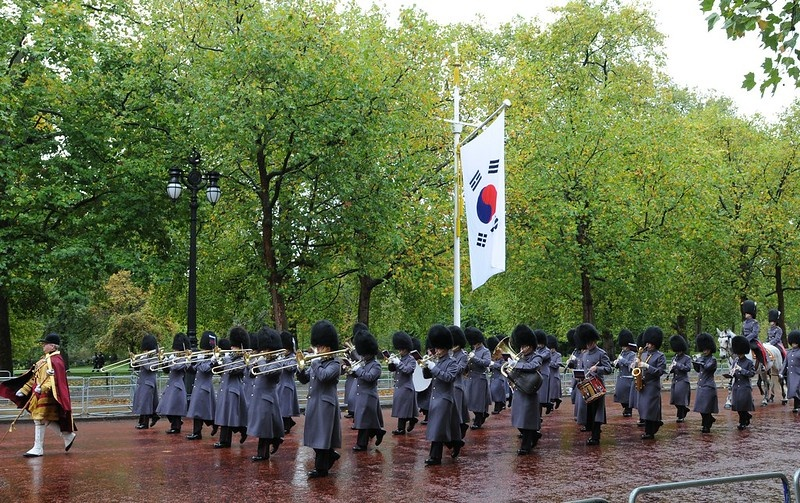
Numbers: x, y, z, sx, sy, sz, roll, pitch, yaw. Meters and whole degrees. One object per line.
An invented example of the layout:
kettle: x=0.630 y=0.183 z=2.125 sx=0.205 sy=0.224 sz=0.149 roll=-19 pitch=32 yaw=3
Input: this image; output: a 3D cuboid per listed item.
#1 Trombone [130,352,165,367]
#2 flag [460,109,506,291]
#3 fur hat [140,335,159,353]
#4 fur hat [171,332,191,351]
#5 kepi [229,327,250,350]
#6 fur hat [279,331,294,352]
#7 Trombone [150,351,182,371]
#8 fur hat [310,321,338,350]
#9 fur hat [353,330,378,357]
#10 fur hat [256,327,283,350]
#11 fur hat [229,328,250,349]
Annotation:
Trombone: x=-8.172 y=3.527 z=35.631 sx=0.787 sy=0.288 sz=0.732 roll=-1 pitch=27 yaw=-1
flag: x=2.690 y=-1.620 z=35.080 sx=0.431 sy=5.526 sz=1.693 roll=7 pitch=-12 yaw=-37
fur hat: x=-8.280 y=3.020 z=36.217 sx=0.546 sy=0.554 sz=0.591 roll=2 pitch=-7 yaw=-25
fur hat: x=-7.096 y=2.980 z=36.155 sx=0.563 sy=0.606 sz=0.659 roll=5 pitch=-3 yaw=-29
kepi: x=-5.091 y=2.713 z=34.657 sx=0.582 sy=0.700 sz=0.371 roll=0 pitch=7 yaw=-16
fur hat: x=-3.743 y=2.966 z=36.589 sx=0.498 sy=0.592 sz=0.621 roll=0 pitch=-26 yaw=-4
Trombone: x=-7.541 y=3.592 z=35.360 sx=0.997 sy=0.595 sz=0.495 roll=-9 pitch=-30 yaw=14
fur hat: x=-2.138 y=2.348 z=31.142 sx=0.674 sy=0.754 sz=0.890 roll=-3 pitch=-33 yaw=5
fur hat: x=-0.984 y=2.643 z=31.777 sx=0.662 sy=0.797 sz=0.467 roll=0 pitch=-10 yaw=-4
fur hat: x=-3.993 y=2.655 z=33.225 sx=0.757 sy=0.640 sz=0.546 roll=2 pitch=-1 yaw=27
fur hat: x=-5.080 y=2.716 z=34.729 sx=0.533 sy=0.681 sz=0.623 roll=7 pitch=-5 yaw=-31
